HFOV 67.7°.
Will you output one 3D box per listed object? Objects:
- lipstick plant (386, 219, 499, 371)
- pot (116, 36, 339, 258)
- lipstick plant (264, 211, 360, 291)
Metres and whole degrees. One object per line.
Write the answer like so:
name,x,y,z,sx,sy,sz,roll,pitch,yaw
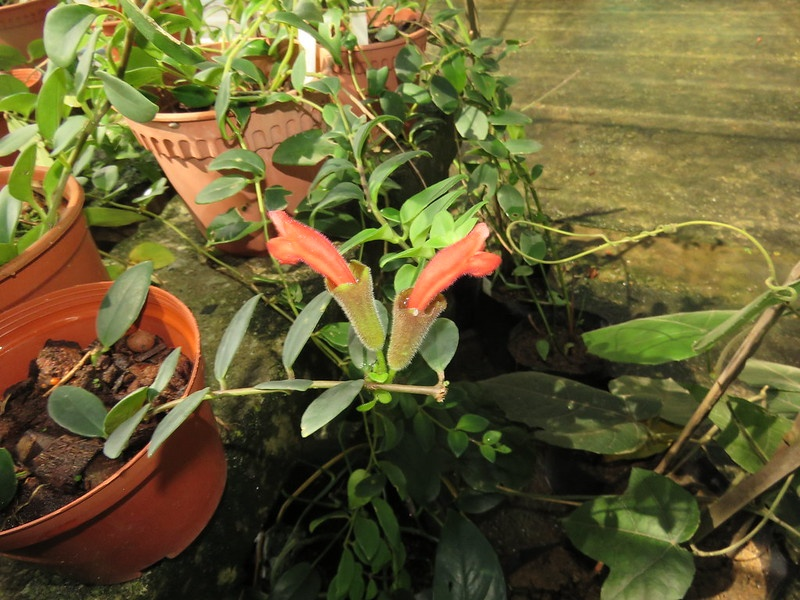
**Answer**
lipstick plant,0.085,0.008,1.272,0.201,0.344,0.105,9,32,-8
pot,-0.492,-0.534,2.055,0.836,0.467,0.625,-7,42,-2
lipstick plant,-0.197,-0.095,1.277,0.257,0.067,0.102,26,42,-11
